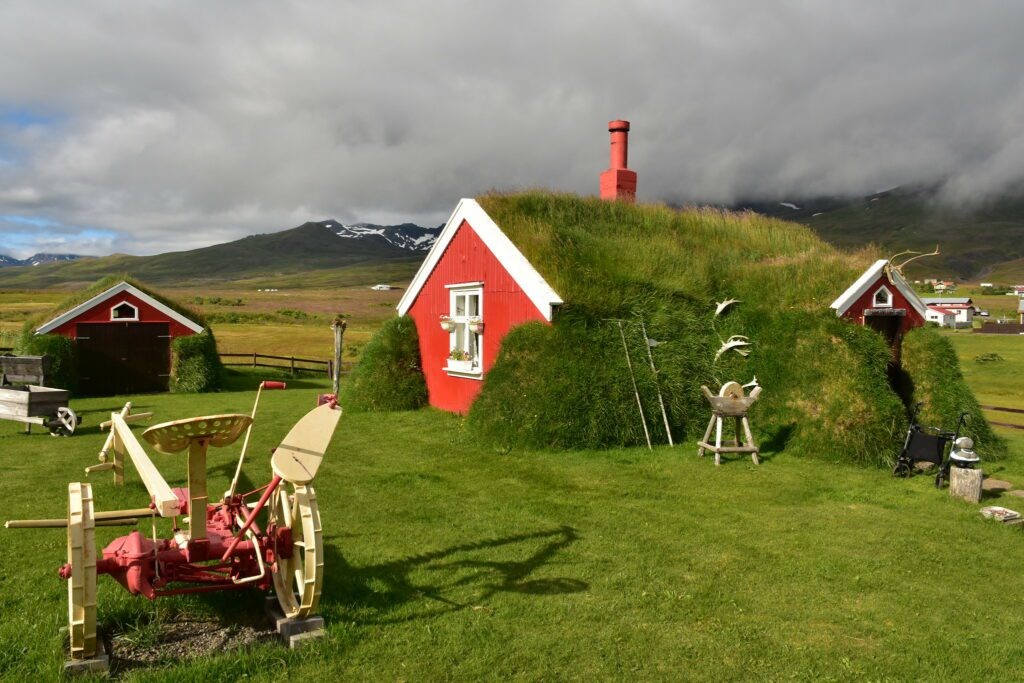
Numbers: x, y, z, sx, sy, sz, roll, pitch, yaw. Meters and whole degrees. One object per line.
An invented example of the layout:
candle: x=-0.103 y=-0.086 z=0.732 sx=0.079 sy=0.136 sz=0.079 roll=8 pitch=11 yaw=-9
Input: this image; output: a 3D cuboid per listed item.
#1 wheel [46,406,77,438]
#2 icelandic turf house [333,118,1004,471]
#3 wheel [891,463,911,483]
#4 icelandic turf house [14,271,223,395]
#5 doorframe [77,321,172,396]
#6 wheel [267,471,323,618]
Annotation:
wheel: x=-12.869 y=2.301 z=22.906 sx=0.696 sy=0.664 sz=0.902 roll=-52 pitch=-18 yaw=21
icelandic turf house: x=4.439 y=-1.148 z=24.937 sx=16.945 sy=7.716 sz=9.051 roll=1 pitch=5 yaw=6
wheel: x=9.691 y=3.221 z=19.768 sx=0.356 sy=0.376 sz=0.134 roll=-7 pitch=-37 yaw=17
icelandic turf house: x=-17.073 y=-0.061 z=35.044 sx=5.411 sy=3.560 sz=5.461 roll=2 pitch=-4 yaw=-20
doorframe: x=-16.732 y=0.710 z=33.864 sx=2.915 sy=2.628 sz=0.306 roll=3 pitch=-5 yaw=-30
wheel: x=-3.626 y=3.424 z=13.291 sx=0.699 sy=2.287 sz=1.677 roll=-2 pitch=5 yaw=-24
